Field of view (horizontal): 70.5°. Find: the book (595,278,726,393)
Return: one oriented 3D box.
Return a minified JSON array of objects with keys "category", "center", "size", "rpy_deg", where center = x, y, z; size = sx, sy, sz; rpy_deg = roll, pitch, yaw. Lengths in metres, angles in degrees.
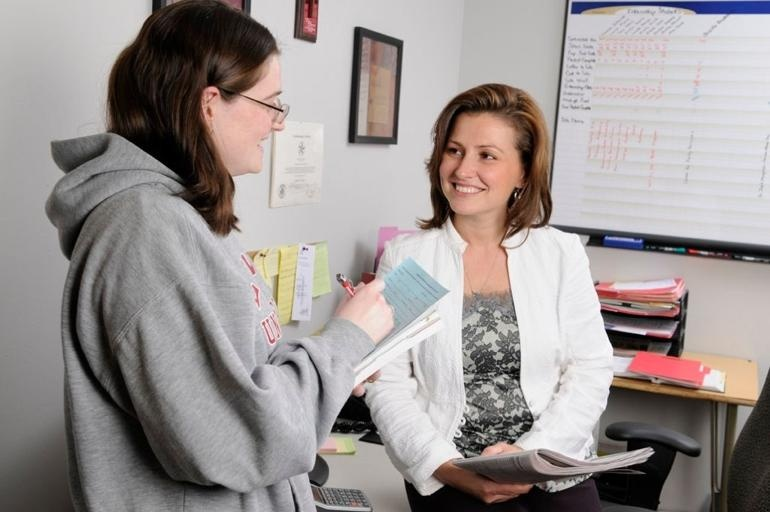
[{"category":"book","center":[1.212,0.326,2.436],"size":[0.489,0.210,0.484],"rpy_deg":[1,5,26]}]

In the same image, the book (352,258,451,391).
[{"category":"book","center":[0.013,0.156,1.235],"size":[0.282,0.086,0.204],"rpy_deg":[-31,57,-18]}]
